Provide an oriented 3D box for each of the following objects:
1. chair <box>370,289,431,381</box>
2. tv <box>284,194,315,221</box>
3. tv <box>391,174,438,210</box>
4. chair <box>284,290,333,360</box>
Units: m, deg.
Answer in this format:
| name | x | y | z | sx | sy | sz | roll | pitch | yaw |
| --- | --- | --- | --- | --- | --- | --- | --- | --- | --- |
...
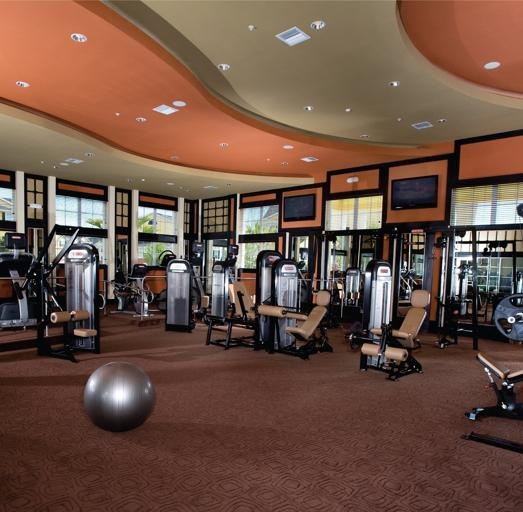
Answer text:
| name | x | y | z | sx | sy | sz | roll | pitch | yaw |
| --- | --- | --- | --- | --- | --- | --- | --- | --- | --- |
| chair | 1.851 | 0.996 | 5.457 | 0.635 | 1.088 | 1.433 | 2 | 0 | 29 |
| tv | 1.124 | -1.404 | 11.655 | 0.124 | 0.589 | 0.902 | -2 | 3 | -44 |
| tv | 3.487 | -1.432 | 9.082 | 0.102 | 0.621 | 0.965 | 1 | 0 | -44 |
| chair | 0.701 | 0.997 | 6.149 | 0.935 | 0.911 | 0.538 | 4 | 2 | -43 |
